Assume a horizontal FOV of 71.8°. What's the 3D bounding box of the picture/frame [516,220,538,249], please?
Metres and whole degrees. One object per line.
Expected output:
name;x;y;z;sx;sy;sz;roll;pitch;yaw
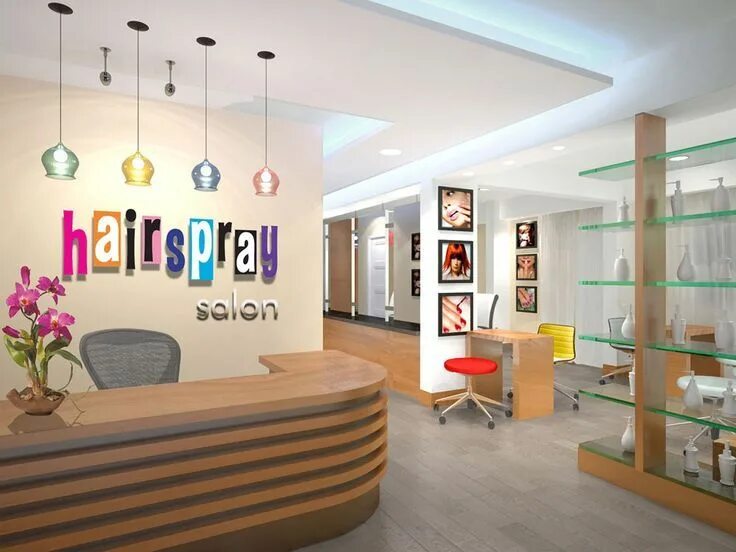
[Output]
picture/frame;3.083;-0.809;9.860;0.057;0.574;0.566;3;-3;-23

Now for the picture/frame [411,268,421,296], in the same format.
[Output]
picture/frame;0.675;0.100;7.291;0.041;0.405;0.144;-7;8;-44

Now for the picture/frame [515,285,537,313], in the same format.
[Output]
picture/frame;3.102;0.443;9.962;0.042;0.554;0.546;1;0;-24

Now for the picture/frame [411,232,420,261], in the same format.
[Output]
picture/frame;0.669;-0.419;7.296;0.060;0.390;0.196;-4;7;-29

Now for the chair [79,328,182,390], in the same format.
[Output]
chair;-1.985;0.605;4.373;0.573;0.823;0.593;1;-3;-26

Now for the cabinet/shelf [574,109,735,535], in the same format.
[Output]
cabinet/shelf;2.396;0.231;4.155;0.556;3.117;1.077;-5;7;-34

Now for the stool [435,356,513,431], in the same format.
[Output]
stool;1.174;1.343;6.076;0.760;0.509;0.730;-1;-1;-37

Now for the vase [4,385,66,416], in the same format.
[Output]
vase;-1.957;0.733;2.990;0.215;0.097;0.234;1;-2;18

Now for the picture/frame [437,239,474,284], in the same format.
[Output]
picture/frame;1.091;-0.187;6.502;0.575;0.618;0.028;2;-4;-31
